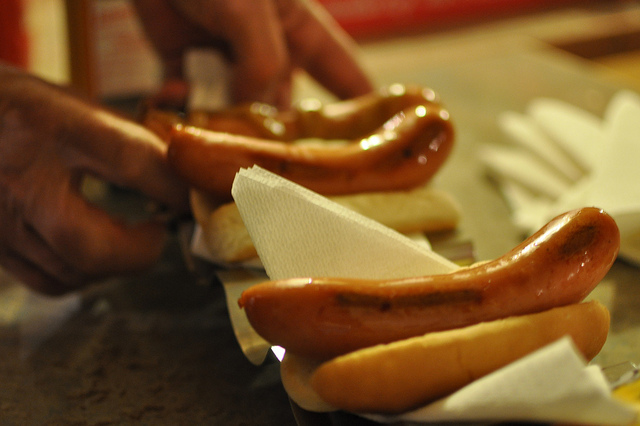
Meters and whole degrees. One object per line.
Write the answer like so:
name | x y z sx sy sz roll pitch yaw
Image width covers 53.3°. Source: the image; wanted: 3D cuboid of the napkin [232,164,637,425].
napkin | 0.080 0.073 0.539 0.285 0.096 0.207 33 50 -5

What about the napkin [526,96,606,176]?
napkin | 0.264 -0.099 0.681 0.074 0.079 0.017 42 80 17

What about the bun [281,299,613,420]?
bun | 0.102 0.118 0.525 0.187 0.123 0.061 -12 83 -4
